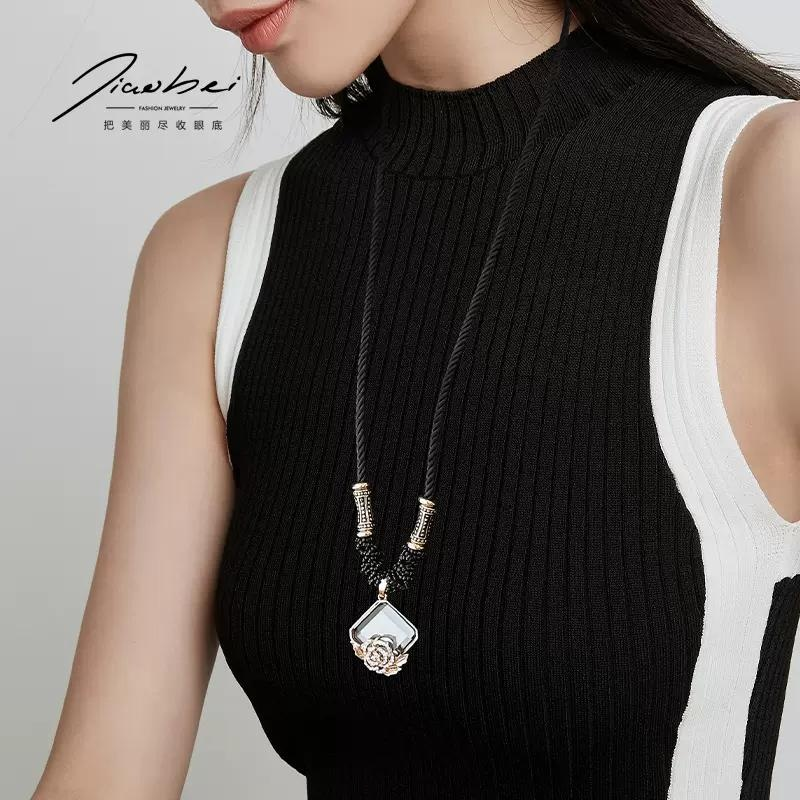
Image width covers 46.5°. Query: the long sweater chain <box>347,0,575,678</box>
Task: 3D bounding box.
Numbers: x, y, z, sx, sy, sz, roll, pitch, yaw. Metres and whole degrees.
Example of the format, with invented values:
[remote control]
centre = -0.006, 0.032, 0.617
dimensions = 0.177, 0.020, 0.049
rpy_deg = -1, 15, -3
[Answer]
[long sweater chain]
centre = 0.061, -0.065, 0.852
dimensions = 0.154, 0.065, 0.612
rpy_deg = 2, 79, 32
